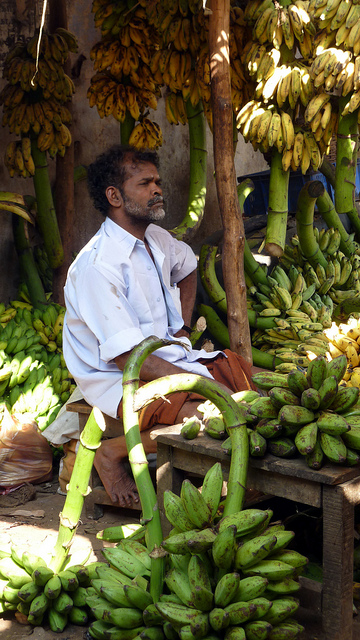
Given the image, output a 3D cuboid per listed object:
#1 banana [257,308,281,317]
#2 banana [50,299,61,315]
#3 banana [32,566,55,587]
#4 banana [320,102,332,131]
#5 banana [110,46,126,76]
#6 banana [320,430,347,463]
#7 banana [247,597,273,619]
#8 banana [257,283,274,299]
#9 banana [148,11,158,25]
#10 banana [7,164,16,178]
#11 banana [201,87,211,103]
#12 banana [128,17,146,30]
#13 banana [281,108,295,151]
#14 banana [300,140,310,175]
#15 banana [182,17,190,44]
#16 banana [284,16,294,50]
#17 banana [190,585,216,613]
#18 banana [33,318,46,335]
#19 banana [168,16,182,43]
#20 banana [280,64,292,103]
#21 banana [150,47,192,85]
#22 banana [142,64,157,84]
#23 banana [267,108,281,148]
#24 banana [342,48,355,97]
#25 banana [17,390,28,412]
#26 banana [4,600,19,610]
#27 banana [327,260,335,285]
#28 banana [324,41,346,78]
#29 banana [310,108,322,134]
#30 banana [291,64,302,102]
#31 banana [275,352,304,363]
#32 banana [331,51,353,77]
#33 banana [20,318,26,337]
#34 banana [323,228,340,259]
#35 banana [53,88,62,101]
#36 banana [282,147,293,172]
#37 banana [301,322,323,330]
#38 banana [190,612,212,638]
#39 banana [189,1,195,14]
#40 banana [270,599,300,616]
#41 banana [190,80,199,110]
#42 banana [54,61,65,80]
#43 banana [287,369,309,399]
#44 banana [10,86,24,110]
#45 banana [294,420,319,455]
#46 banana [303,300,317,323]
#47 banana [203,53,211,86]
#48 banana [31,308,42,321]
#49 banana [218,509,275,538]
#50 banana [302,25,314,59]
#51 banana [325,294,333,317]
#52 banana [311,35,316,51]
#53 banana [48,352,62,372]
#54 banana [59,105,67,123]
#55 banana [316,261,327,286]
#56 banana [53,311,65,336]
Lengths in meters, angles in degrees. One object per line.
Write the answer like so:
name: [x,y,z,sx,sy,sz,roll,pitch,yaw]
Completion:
banana: [0.590,-0.046,3.750,0.149,0.056,0.049,0,-5,-16]
banana: [-0.837,-0.084,3.808,0.033,0.127,0.047,-9,-43,-21]
banana: [-0.380,0.712,1.572,0.029,0.040,0.094,-10,-22,0]
banana: [0.740,-1.033,2.876,0.040,0.148,0.047,5,-13,-9]
banana: [-0.383,-1.605,3.516,0.058,0.211,0.063,15,-8,-18]
banana: [0.349,0.290,1.290,0.035,0.028,0.073,-2,33,-24]
banana: [0.171,0.600,1.179,0.031,0.021,0.060,-12,-23,-15]
banana: [0.584,-0.199,3.867,0.056,0.040,0.151,45,0,-27]
banana: [-0.166,-1.821,3.416,0.017,0.076,0.043,19,9,-41]
banana: [-1.153,-1.014,3.860,0.046,0.093,0.022,-11,16,12]
banana: [0.154,-1.327,3.351,0.055,0.082,0.027,-1,9,11]
banana: [-0.262,-1.809,3.457,0.093,0.066,0.024,26,-2,-11]
banana: [0.532,-0.936,2.829,0.049,0.197,0.065,-7,-30,-5]
banana: [0.658,-0.857,2.990,0.039,0.159,0.047,0,-6,-31]
banana: [0.036,-1.666,3.272,0.040,0.137,0.035,9,0,3]
banana: [0.540,-1.406,2.798,0.027,0.035,0.110,-5,-45,3]
banana: [0.049,0.585,1.184,0.039,0.039,0.069,15,-35,41]
banana: [-0.918,0.036,3.661,0.035,0.135,0.049,-30,-2,9]
banana: [-0.019,-1.675,3.301,0.048,0.174,0.048,3,-21,34]
banana: [0.524,-1.164,2.801,0.035,0.198,0.049,9,-7,-9]
banana: [-0.046,-1.524,3.393,0.207,0.271,0.093,-2,0,9]
banana: [-0.190,-1.527,3.507,0.045,0.129,0.028,-43,7,-22]
banana: [0.469,-0.951,2.809,0.044,0.207,0.060,-1,-29,25]
banana: [0.804,-1.167,2.710,0.046,0.258,0.062,7,-17,-7]
banana: [-0.937,0.483,3.370,0.057,0.105,0.029,-4,-6,-38]
banana: [-0.501,0.847,1.678,0.034,0.028,0.021,9,45,16]
banana: [1.040,-0.340,3.905,0.034,0.137,0.044,-8,-31,13]
banana: [0.743,-1.234,2.702,0.068,0.220,0.055,31,-13,-31]
banana: [0.692,-1.000,2.873,0.030,0.123,0.041,13,-4,-4]
banana: [0.570,-1.163,2.783,0.038,0.174,0.044,2,-4,-20]
banana: [0.692,0.235,3.540,0.154,0.050,0.052,-4,-1,33]
banana: [0.786,-1.239,2.744,0.055,0.208,0.060,21,-31,14]
banana: [-1.017,0.043,3.666,0.037,0.148,0.058,7,-46,-15]
banana: [1.108,-0.547,4.084,0.070,0.279,0.094,18,-3,-9]
banana: [-0.791,-1.453,3.663,0.012,0.047,0.045,-2,30,40]
banana: [0.545,-0.816,2.872,0.037,0.134,0.042,14,-11,-21]
banana: [0.819,0.047,3.527,0.135,0.054,0.045,3,-5,-16]
banana: [0.044,0.621,1.152,0.022,0.029,0.083,16,2,12]
banana: [0.065,-1.730,3.137,0.011,0.074,0.048,-8,4,-29]
banana: [0.235,0.646,1.290,0.042,0.026,0.075,25,-26,-31]
banana: [0.089,-1.381,3.496,0.031,0.143,0.047,0,-7,-19]
banana: [-0.768,-1.587,3.620,0.023,0.111,0.036,-9,14,43]
banana: [0.290,0.161,1.394,0.035,0.025,0.069,0,19,-43]
banana: [-1.045,-1.417,3.632,0.046,0.193,0.060,19,-9,-18]
banana: [0.297,0.275,1.315,0.029,0.047,0.083,30,31,7]
banana: [0.848,-0.055,3.680,0.043,0.171,0.054,-21,-12,2]
banana: [0.147,-1.423,3.218,0.041,0.152,0.118,-6,4,0]
banana: [-0.956,-0.038,3.769,0.064,0.081,0.116,-3,11,-11]
banana: [0.146,0.449,1.278,0.050,0.058,0.165,-11,-15,27]
banana: [0.651,-1.418,2.878,0.028,0.156,0.038,-13,1,-5]
banana: [1.004,-0.101,3.809,0.039,0.139,0.045,4,-42,-19]
banana: [0.677,-1.411,2.894,0.012,0.062,0.016,12,-32,-40]
banana: [-0.791,0.266,3.569,0.040,0.143,0.050,28,-36,-4]
banana: [-0.768,-1.351,3.717,0.021,0.082,0.046,-7,9,28]
banana: [0.976,-0.315,3.911,0.039,0.146,0.046,-16,-2,21]
banana: [-0.759,0.029,3.526,0.040,0.137,0.085,16,-20,-18]
